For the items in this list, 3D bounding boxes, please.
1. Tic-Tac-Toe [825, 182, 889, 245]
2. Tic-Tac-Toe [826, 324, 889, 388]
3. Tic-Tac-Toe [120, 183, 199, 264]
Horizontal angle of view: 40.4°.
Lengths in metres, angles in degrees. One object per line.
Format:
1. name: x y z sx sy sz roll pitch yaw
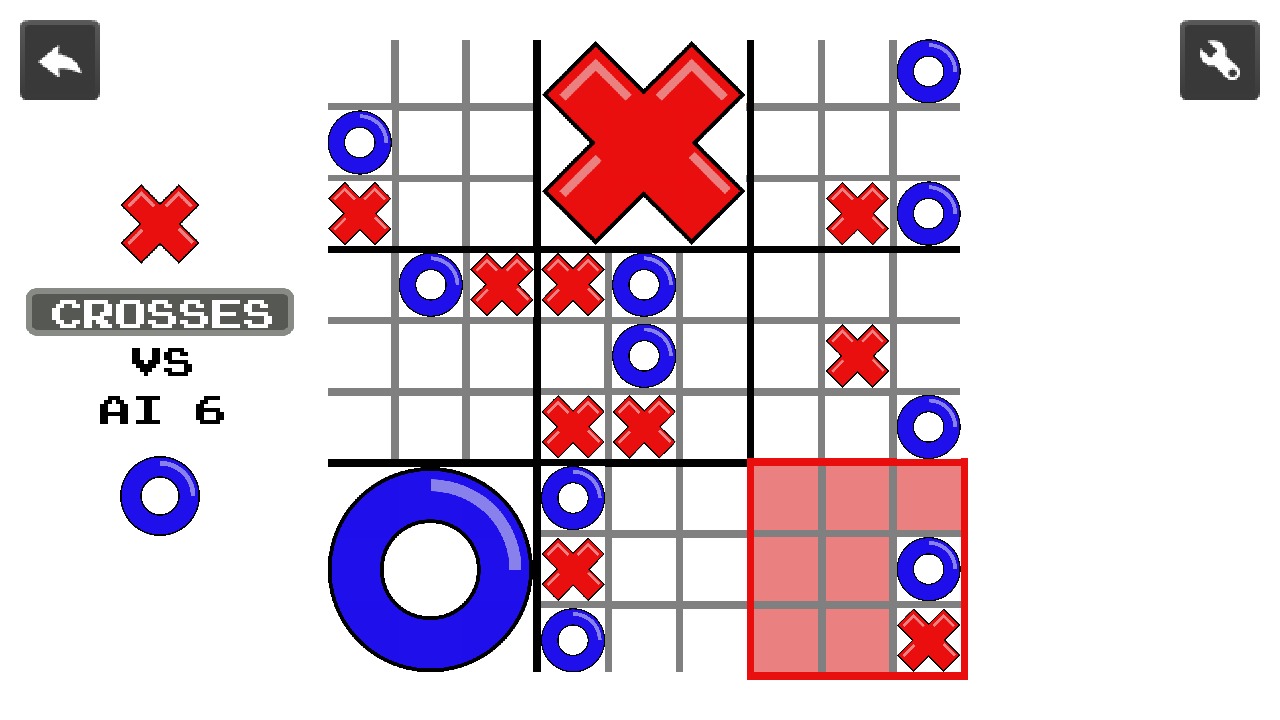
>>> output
1. Tic-Tac-Toe: 1.227 -0.848 9.934 0.352 0.150 0.312 -2 -66 -5
2. Tic-Tac-Toe: 1.195 -0.055 9.732 0.349 0.035 0.362 0 -85 0
3. Tic-Tac-Toe: -2.760 -0.794 9.993 0.455 0.233 0.410 -2 -66 -5
